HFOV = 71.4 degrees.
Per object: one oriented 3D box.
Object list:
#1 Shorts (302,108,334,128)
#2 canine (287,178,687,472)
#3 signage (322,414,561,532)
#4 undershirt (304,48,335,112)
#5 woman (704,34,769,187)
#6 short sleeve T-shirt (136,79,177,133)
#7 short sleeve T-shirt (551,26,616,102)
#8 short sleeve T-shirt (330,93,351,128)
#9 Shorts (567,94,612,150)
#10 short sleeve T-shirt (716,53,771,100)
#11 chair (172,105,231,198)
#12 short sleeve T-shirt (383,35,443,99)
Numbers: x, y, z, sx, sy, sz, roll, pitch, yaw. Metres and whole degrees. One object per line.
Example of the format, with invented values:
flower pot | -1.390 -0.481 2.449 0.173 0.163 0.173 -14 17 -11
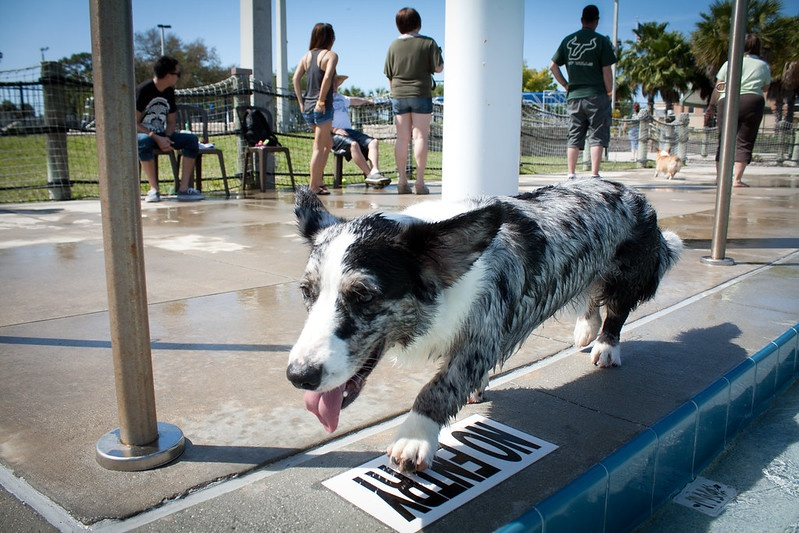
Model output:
Shorts | -1.179 -2.176 8.169 0.271 0.269 0.372 -23 25 -38
canine | 0.697 0.110 2.958 2.481 1.221 1.027 -14 14 -30
signage | 0.185 0.816 2.240 0.879 0.079 0.494 -14 19 -40
undershirt | -1.199 -2.718 8.253 0.415 0.967 0.376 3 -2 13
woman | 5.967 -2.798 9.954 0.889 2.565 0.732 4 18 23
short sleeve T-shirt | -3.557 -2.325 8.155 0.234 0.752 0.741 3 15 19
short sleeve T-shirt | 2.656 -2.933 8.086 0.923 0.963 0.410 7 25 25
short sleeve T-shirt | -1.054 -2.786 9.694 0.377 0.242 0.447 1 -27 -5
Shorts | 2.779 -2.196 8.266 0.550 0.807 0.442 3 27 29
short sleeve T-shirt | 6.011 -3.238 9.435 0.484 0.694 0.378 2 14 13
chair | -3.383 -1.941 9.277 0.835 1.427 0.760 18 23 42
short sleeve T-shirt | 0.213 -3.066 8.640 0.909 0.919 0.479 5 15 27
